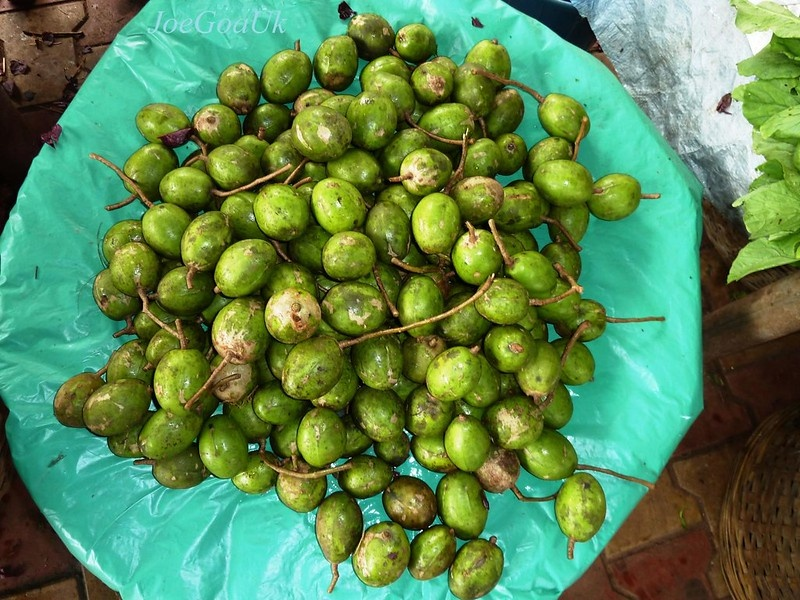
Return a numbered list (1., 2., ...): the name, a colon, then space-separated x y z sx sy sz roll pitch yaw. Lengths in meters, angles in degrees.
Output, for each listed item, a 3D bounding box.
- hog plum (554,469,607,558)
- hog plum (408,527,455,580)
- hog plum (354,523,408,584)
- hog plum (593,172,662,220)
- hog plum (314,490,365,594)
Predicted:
1. hog plum: 1.032 1.209 4.291 0.245 0.277 0.493 22 74 -39
2. hog plum: 0.191 1.445 4.319 0.213 0.254 0.324 19 47 11
3. hog plum: -0.110 1.468 4.270 0.249 0.354 0.279 2 51 -36
4. hog plum: 1.384 -0.629 4.533 0.397 0.246 0.255 -6 93 -7
5. hog plum: -0.353 1.406 4.251 0.234 0.201 0.504 16 74 -27
